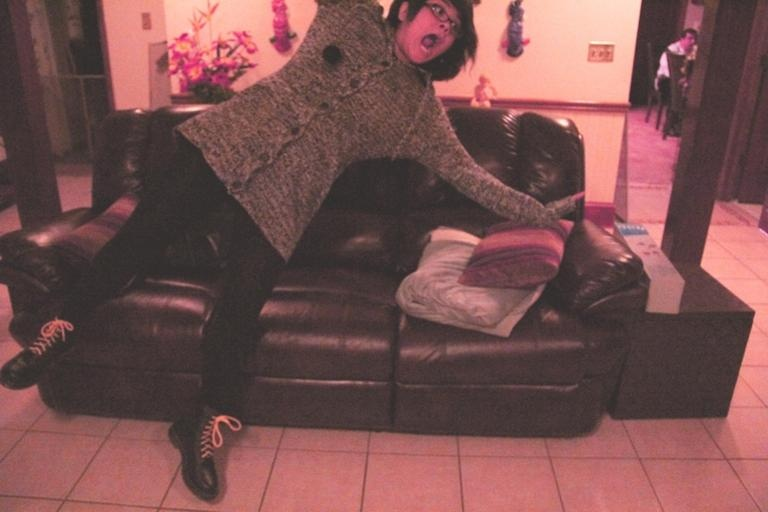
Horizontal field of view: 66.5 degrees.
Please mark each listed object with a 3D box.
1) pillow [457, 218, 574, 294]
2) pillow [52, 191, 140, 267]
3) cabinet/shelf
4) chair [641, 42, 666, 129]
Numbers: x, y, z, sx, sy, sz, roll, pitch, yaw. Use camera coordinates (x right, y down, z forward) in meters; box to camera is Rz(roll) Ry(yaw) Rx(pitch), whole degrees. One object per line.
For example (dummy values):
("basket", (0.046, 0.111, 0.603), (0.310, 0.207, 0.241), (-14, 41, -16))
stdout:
("pillow", (0.607, 0.004, 2.768), (0.367, 0.116, 0.374), (-3, 47, 37))
("pillow", (-1.383, -0.141, 2.900), (0.385, 0.106, 0.248), (-55, 32, -14))
("cabinet/shelf", (1.421, 0.371, 3.138), (0.712, 0.676, 0.694), (0, 27, 5))
("chair", (3.740, -2.181, 8.020), (0.374, 0.878, 0.305), (12, 47, 33))
